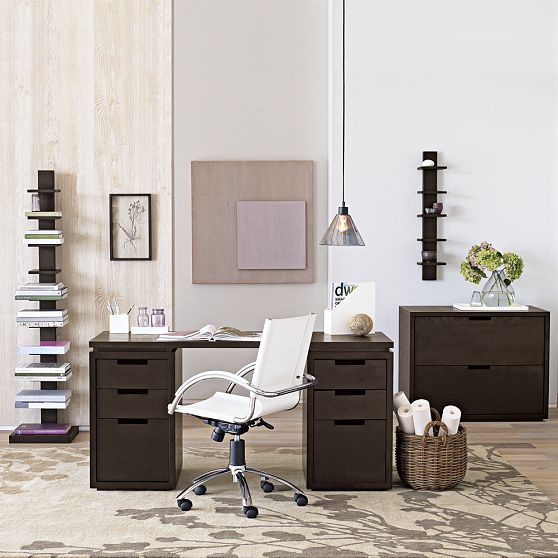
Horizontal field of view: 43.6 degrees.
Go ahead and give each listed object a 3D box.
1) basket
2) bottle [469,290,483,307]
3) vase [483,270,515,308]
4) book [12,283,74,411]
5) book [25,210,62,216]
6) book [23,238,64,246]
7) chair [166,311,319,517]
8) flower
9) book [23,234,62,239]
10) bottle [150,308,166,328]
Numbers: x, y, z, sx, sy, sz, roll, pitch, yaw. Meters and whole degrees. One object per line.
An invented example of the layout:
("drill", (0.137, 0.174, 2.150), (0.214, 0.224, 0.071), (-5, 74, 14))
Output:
("basket", (0.824, 0.957, 3.919), (0.348, 0.377, 0.390), (0, -1, 2))
("bottle", (1.489, 0.156, 5.300), (0.112, 0.123, 0.112), (-1, 0, 12))
("vase", (1.623, 0.072, 5.168), (0.252, 0.353, 0.249), (0, 4, 31))
("book", (-1.616, 0.475, 4.750), (0.366, 0.892, 0.315), (-1, 6, -12))
("book", (-1.573, -0.430, 4.670), (0.222, 0.040, 0.124), (-2, 6, -18))
("book", (-1.569, -0.247, 4.649), (0.237, 0.041, 0.069), (0, 6, 1))
("chair", (-0.184, 0.680, 3.616), (0.662, 0.942, 0.651), (0, -1, 33))
("flower", (1.572, -0.024, 5.150), (0.393, 0.474, 0.216), (-1, 6, -8))
("book", (-1.571, -0.293, 4.638), (0.228, 0.047, 0.034), (0, 6, -2))
("bottle", (-0.702, 0.231, 4.113), (0.095, 0.107, 0.096), (1, -4, -3))
